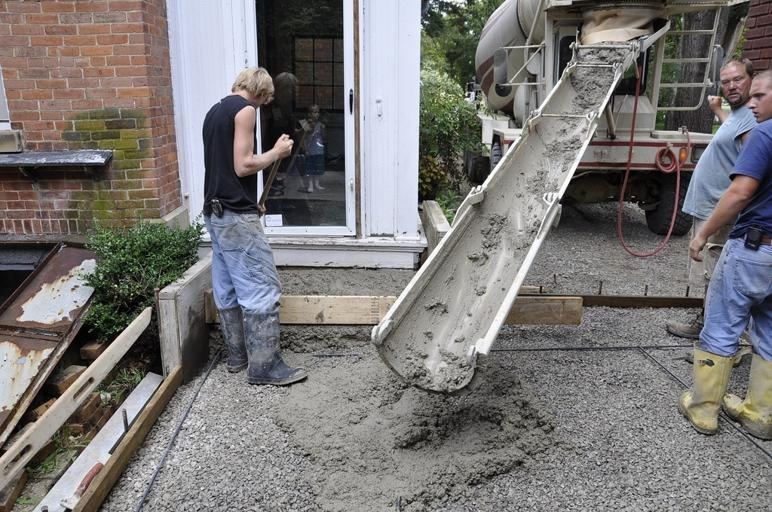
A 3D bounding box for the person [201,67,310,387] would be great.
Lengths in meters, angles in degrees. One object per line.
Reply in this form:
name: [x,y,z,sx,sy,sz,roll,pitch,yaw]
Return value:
person: [-1.253,-0.113,5.463,0.623,2.537,0.993,-20,28,-39]
